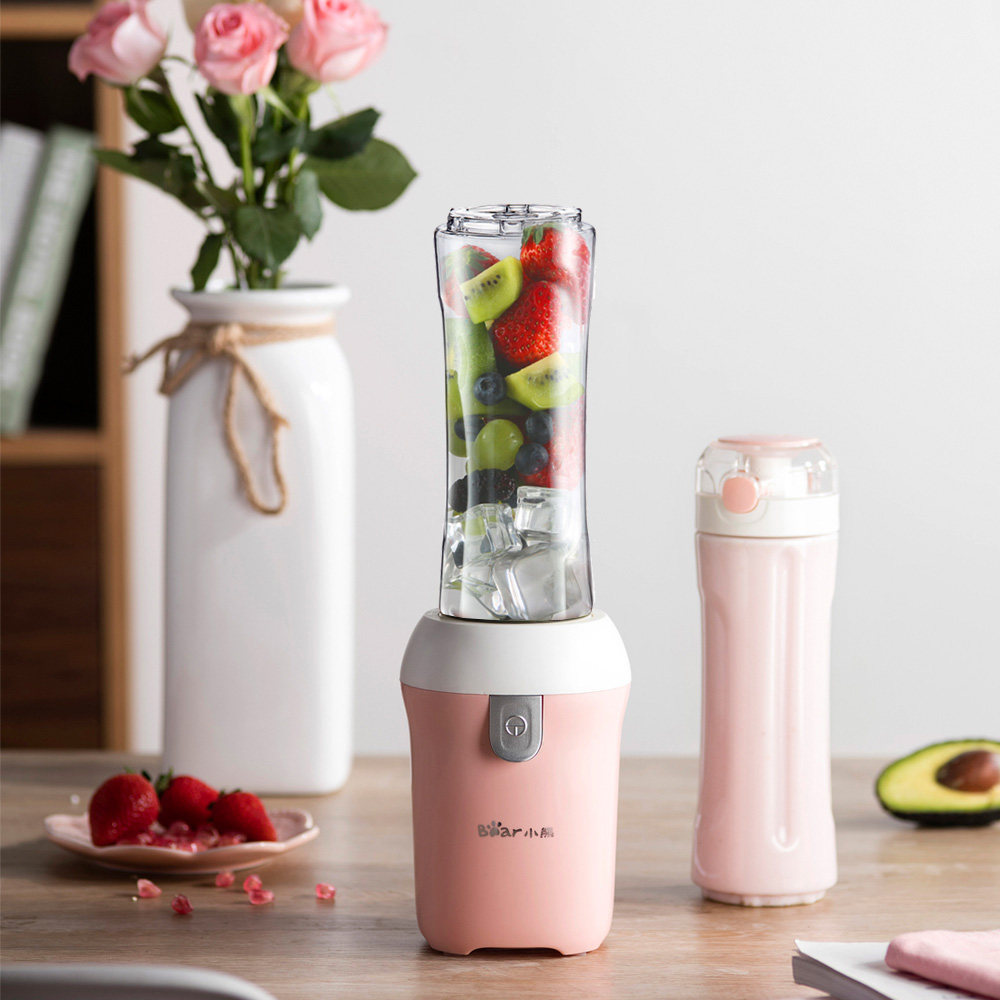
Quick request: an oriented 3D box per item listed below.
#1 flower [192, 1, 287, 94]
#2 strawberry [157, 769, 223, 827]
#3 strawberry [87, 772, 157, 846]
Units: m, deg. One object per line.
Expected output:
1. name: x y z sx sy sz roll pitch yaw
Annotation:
1. flower: -0.175 -0.299 0.837 0.058 0.061 0.028 15 4 3
2. strawberry: -0.191 0.184 0.767 0.031 0.022 0.034 35 -18 -29
3. strawberry: -0.225 0.188 0.762 0.043 0.042 0.056 7 -8 -18
